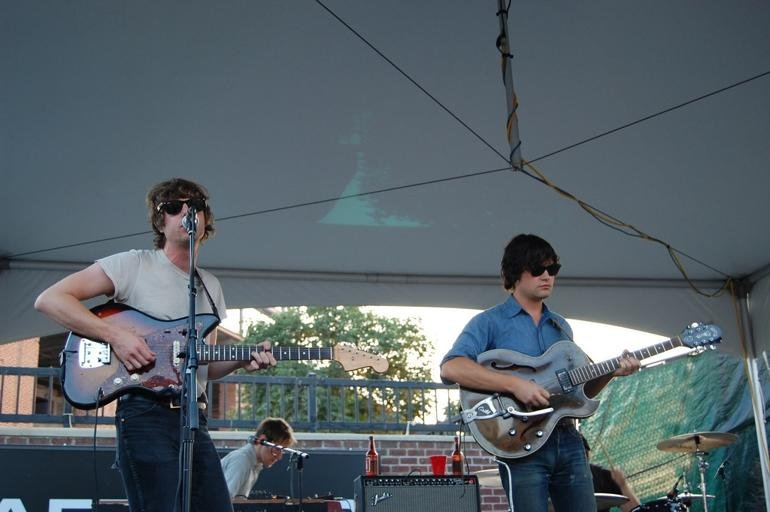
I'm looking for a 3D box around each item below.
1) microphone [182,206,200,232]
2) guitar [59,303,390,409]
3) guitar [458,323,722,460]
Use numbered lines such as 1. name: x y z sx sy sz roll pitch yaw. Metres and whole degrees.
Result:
1. microphone: -1.342 -0.250 6.687 0.064 0.111 0.166 -2 -28 -32
2. guitar: -1.300 0.737 6.913 1.901 0.730 0.489 7 -23 -21
3. guitar: 1.410 0.932 7.107 1.952 0.817 0.236 -18 -16 -6
